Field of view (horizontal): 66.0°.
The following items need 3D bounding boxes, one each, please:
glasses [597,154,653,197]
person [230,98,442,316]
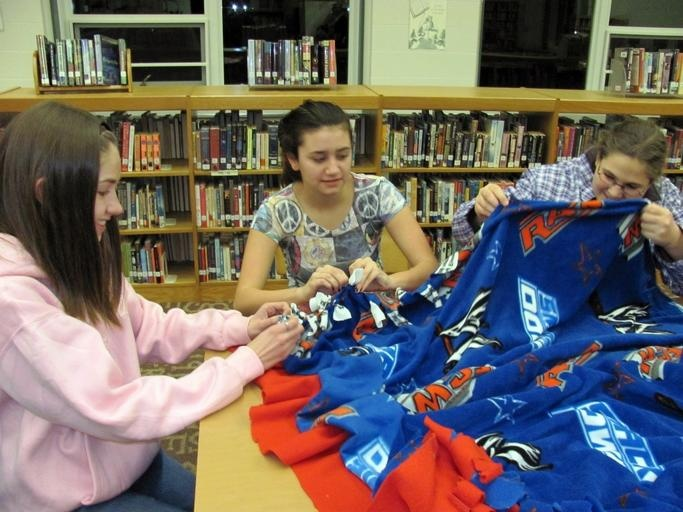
[{"bbox_3d":[1.056,-0.289,2.001,0.144,0.083,0.192,19,37,9],"label":"glasses"},{"bbox_3d":[0.010,-0.140,2.194,0.776,0.918,0.656,2,19,13],"label":"person"}]
